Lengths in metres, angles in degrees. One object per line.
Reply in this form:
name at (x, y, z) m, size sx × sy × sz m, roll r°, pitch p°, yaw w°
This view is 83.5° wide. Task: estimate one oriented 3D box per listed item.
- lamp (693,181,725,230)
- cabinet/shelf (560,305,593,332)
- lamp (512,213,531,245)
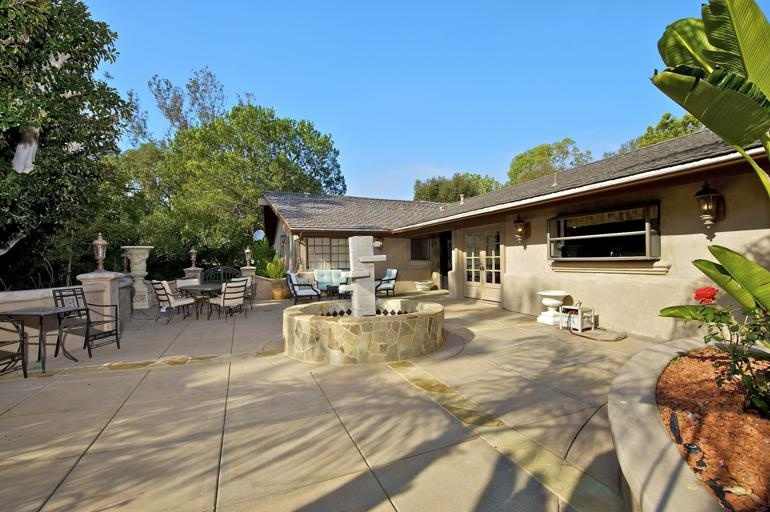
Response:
lamp at (5.822, -0.945, 7.853) m, size 0.419 × 0.964 × 0.271 m, roll -3°, pitch -2°, yaw 38°
cabinet/shelf at (3.956, 1.266, 9.159) m, size 0.557 × 0.491 × 0.545 m, roll -2°, pitch 2°, yaw -34°
lamp at (3.387, -0.707, 11.116) m, size 0.298 × 0.669 × 0.509 m, roll -2°, pitch -2°, yaw -24°
